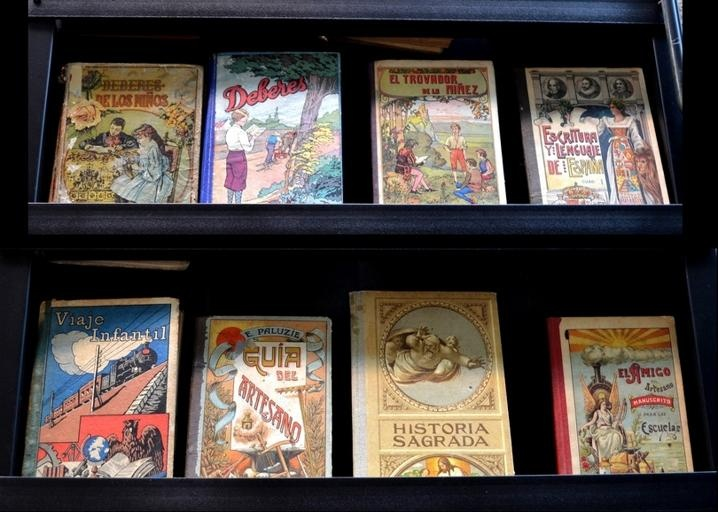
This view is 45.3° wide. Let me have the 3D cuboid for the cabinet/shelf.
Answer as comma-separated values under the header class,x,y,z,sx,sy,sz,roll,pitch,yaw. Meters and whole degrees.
class,x,y,z,sx,sy,sz,roll,pitch,yaw
cabinet/shelf,-0.010,-0.001,2.066,1.431,0.989,0.386,1,-17,-3
